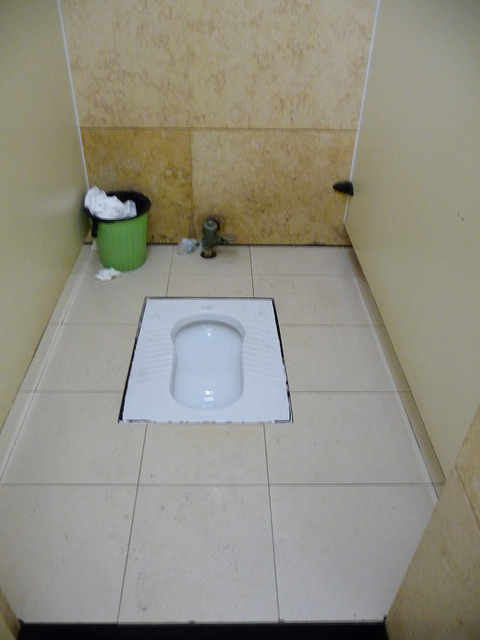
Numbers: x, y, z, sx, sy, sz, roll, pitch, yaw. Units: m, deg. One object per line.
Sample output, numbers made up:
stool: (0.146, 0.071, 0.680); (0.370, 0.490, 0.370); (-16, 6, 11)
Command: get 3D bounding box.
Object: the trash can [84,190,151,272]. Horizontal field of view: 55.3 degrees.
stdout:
trash can: (-0.621, -0.561, 2.347); (0.281, 0.370, 0.400); (-15, 49, -20)
